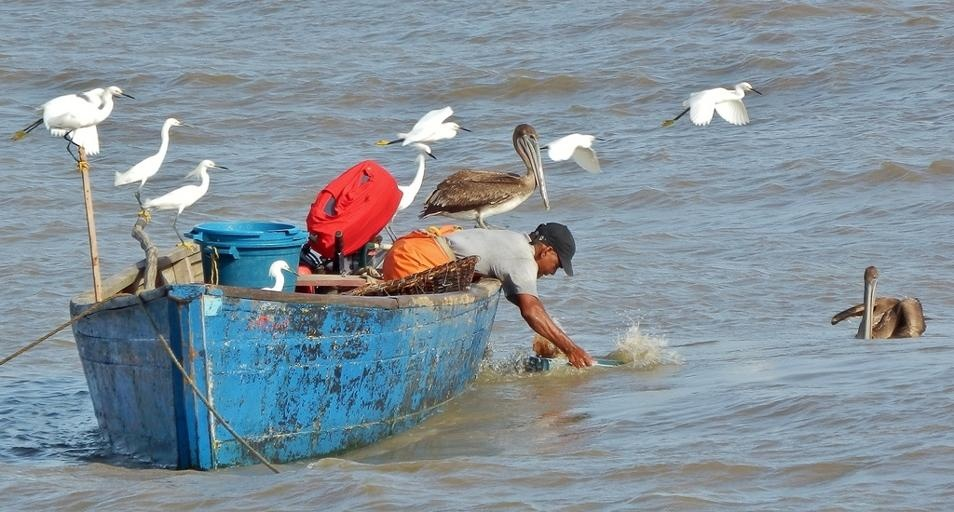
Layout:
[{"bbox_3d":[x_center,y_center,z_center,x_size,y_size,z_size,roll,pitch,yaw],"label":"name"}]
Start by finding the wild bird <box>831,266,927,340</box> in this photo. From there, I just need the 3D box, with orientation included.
[{"bbox_3d":[7.916,1.077,30.853,1.311,1.074,1.487,-10,43,-19],"label":"wild bird"}]

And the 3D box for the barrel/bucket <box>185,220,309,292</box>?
[{"bbox_3d":[-4.058,0.111,28.683,2.333,0.998,2.152,3,1,0],"label":"barrel/bucket"}]

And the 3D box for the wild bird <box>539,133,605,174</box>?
[{"bbox_3d":[2.011,-2.157,32.666,1.490,0.397,0.993,12,0,15],"label":"wild bird"}]
